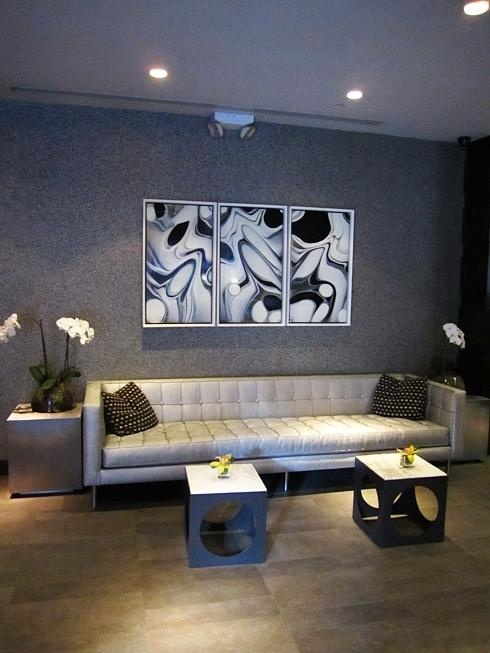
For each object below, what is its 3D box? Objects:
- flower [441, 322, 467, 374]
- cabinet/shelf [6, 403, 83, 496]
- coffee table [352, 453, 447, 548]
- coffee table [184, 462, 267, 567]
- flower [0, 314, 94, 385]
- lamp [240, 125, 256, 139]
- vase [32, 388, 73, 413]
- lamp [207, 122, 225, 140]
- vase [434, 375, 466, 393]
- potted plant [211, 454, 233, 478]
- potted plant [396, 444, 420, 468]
[{"bbox_3d":[1.941,0.179,4.888,0.172,0.391,0.313,-12,37,-3],"label":"flower"},{"bbox_3d":[-1.328,0.837,3.732,0.544,0.533,0.537,0,5,-10],"label":"cabinet/shelf"},{"bbox_3d":[1.042,1.112,3.178,0.501,0.348,0.489,12,-19,-10],"label":"coffee table"},{"bbox_3d":[-0.110,1.020,2.941,0.473,0.431,0.475,-1,7,-4],"label":"coffee table"},{"bbox_3d":[-1.425,0.179,3.767,0.639,0.522,0.524,0,4,-15],"label":"flower"},{"bbox_3d":[0.028,-1.542,4.158,0.132,0.044,0.092,3,-21,-35],"label":"lamp"},{"bbox_3d":[-1.345,0.497,3.623,0.199,0.128,0.200,4,3,40],"label":"vase"},{"bbox_3d":[-0.244,-1.549,4.126,0.105,0.048,0.139,4,-12,1],"label":"lamp"},{"bbox_3d":[1.718,0.450,4.393,0.169,0.161,0.167,-4,8,-40],"label":"vase"},{"bbox_3d":[-0.137,0.785,2.973,0.128,0.084,0.125,-1,10,7],"label":"potted plant"},{"bbox_3d":[0.979,0.783,3.218,0.131,0.114,0.117,-6,4,-35],"label":"potted plant"}]
